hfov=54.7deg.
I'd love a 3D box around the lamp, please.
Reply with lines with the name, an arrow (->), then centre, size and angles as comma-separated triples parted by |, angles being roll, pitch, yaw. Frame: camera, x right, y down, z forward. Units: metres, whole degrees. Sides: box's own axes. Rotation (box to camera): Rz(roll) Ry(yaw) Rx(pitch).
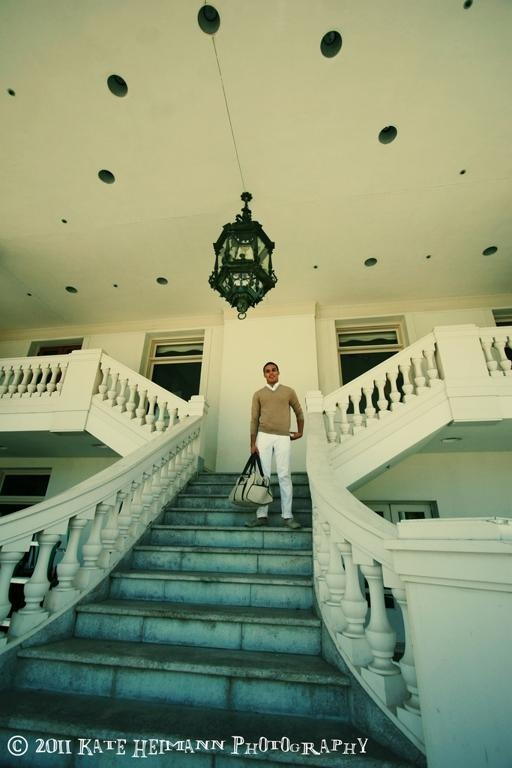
lamp -> -0.114, -0.869, 3.465 | 0.467, 0.769, 0.475 | -2, 9, 2

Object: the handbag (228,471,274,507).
handbag -> -0.034, 0.811, 3.744 | 0.382, 0.390, 0.221 | 5, -17, -7

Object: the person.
person -> 0.168, 0.484, 4.177 | 0.448, 1.250, 0.955 | -2, 9, 2
